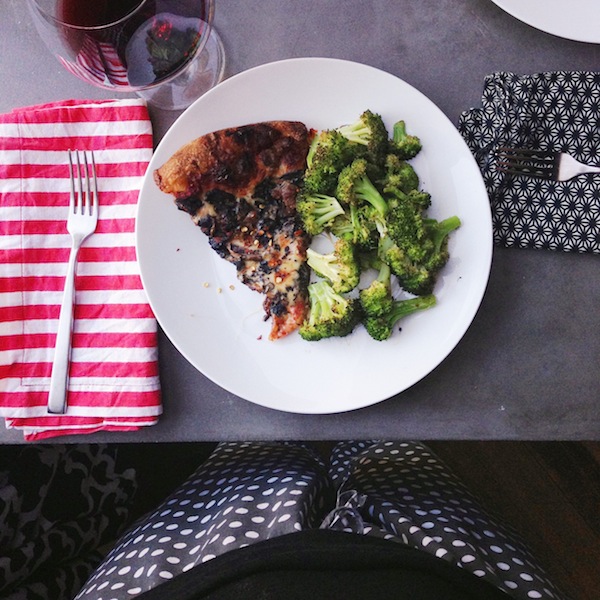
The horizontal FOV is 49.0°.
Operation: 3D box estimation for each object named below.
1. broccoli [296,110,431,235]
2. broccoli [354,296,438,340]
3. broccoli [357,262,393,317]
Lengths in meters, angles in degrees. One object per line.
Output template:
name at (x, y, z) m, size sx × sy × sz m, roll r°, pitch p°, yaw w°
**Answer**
broccoli at (0.135, -0.279, 1.451) m, size 0.238 × 0.103 × 0.259 m, roll 23°, pitch 97°, yaw 13°
broccoli at (0.209, 0.030, 1.415) m, size 0.152 × 0.070 × 0.075 m, roll -23°, pitch 63°, yaw -5°
broccoli at (0.155, -0.022, 1.350) m, size 0.081 × 0.055 × 0.104 m, roll 3°, pitch 83°, yaw 7°
